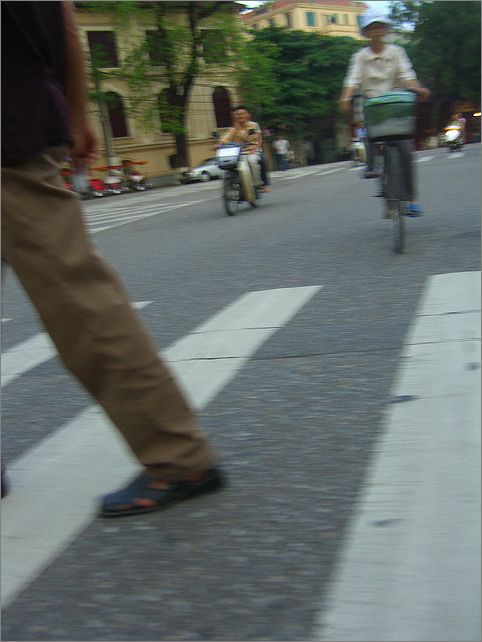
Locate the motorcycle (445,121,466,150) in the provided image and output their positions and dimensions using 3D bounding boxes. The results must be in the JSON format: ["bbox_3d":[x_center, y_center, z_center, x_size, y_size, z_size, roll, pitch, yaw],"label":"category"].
[{"bbox_3d":[8.333,-7.246,25.481,0.769,1.142,2.334,-7,10,20],"label":"motorcycle"}]

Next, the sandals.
[{"bbox_3d":[-0.185,0.385,1.552,0.310,0.100,0.096,-6,-3,-15],"label":"sandals"}]

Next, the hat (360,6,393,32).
[{"bbox_3d":[1.182,-2.682,5.784,0.279,0.192,0.261,-7,11,14],"label":"hat"}]
